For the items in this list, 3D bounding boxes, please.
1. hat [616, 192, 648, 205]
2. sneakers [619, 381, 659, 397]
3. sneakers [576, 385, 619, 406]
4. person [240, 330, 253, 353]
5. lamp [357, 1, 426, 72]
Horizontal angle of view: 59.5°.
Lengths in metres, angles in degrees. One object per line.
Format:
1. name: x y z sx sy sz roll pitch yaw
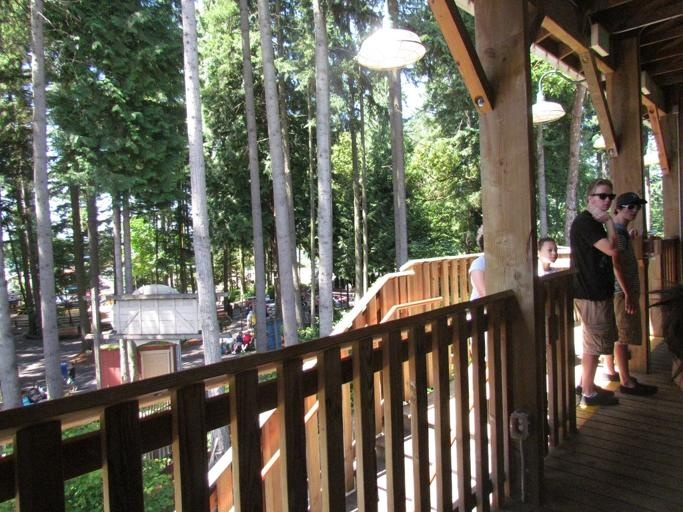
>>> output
1. hat: 2.914 -0.567 6.068 0.160 0.140 0.243 1 7 -14
2. sneakers: 3.077 1.415 6.247 0.380 0.183 0.155 -6 -6 17
3. sneakers: 2.609 1.450 6.060 0.303 0.132 0.250 -3 -1 1
4. person: -3.803 3.495 24.023 0.509 0.764 1.471 -8 -2 -8
5. lamp: 0.732 -3.355 8.897 0.907 1.239 0.875 -12 13 -37
